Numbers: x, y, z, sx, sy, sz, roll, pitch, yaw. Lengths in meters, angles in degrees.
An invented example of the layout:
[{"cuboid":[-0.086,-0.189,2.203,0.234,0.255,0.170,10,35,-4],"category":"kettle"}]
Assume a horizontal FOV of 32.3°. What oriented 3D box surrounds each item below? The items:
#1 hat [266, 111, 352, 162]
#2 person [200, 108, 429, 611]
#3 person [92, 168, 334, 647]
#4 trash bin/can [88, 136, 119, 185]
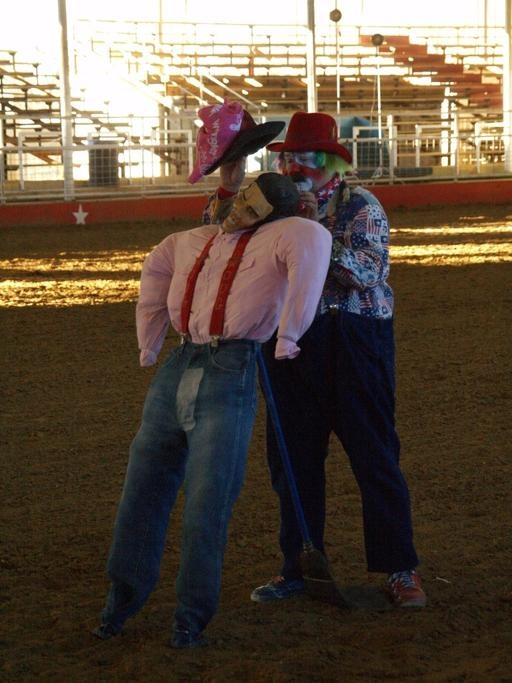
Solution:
[{"cuboid":[0.207,-0.738,3.190,0.345,0.146,0.251,4,13,-20],"category":"hat"},{"cuboid":[0.270,0.041,3.416,0.747,1.696,0.826,3,5,40],"category":"person"},{"cuboid":[-0.135,0.159,2.757,0.762,1.473,0.291,-4,-22,40],"category":"person"},{"cuboid":[-4.129,-4.530,22.713,1.038,1.212,0.908,-6,27,-19],"category":"trash bin/can"}]
